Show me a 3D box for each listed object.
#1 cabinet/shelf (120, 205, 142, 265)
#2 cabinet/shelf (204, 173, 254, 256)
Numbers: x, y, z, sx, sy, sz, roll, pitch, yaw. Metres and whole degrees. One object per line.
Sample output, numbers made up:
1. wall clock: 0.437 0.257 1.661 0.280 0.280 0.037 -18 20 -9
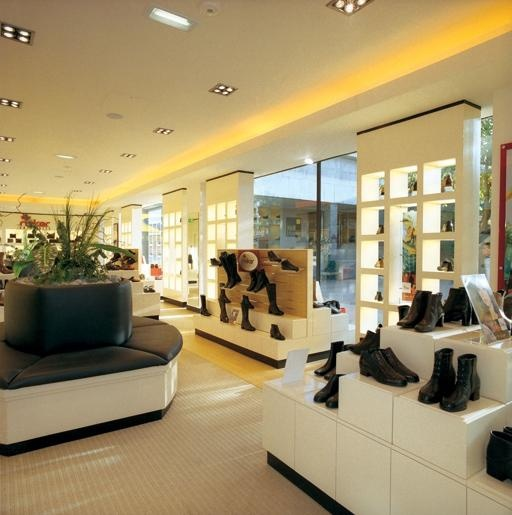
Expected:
1. cabinet/shelf: -4.026 -0.732 13.343 0.892 1.698 0.281 -4 -4 43
2. cabinet/shelf: -0.521 -0.766 8.031 0.422 1.551 1.207 -1 2 -32
